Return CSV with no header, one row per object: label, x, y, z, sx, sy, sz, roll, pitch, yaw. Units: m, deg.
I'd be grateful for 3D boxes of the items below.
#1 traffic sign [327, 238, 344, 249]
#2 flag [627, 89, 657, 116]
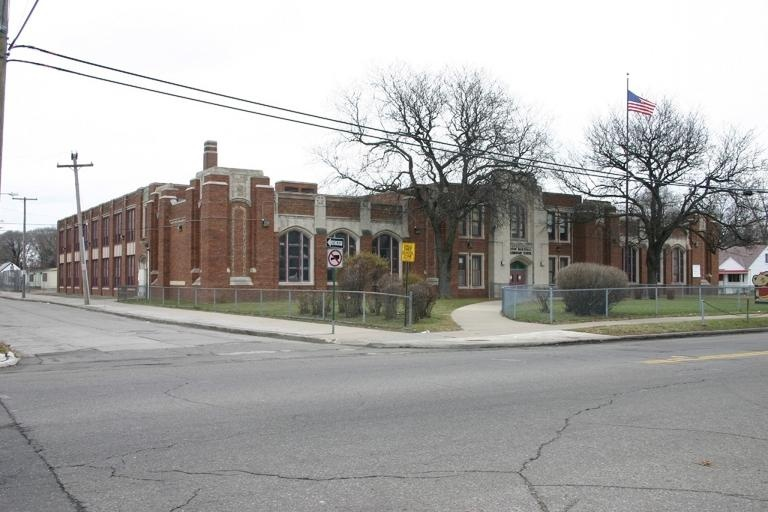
traffic sign,-1.752,-0.463,27.614,0.454,0.396,1.181,-1,-2,4
flag,14.583,-8.694,43.692,1.436,1.229,1.817,-2,-2,22
